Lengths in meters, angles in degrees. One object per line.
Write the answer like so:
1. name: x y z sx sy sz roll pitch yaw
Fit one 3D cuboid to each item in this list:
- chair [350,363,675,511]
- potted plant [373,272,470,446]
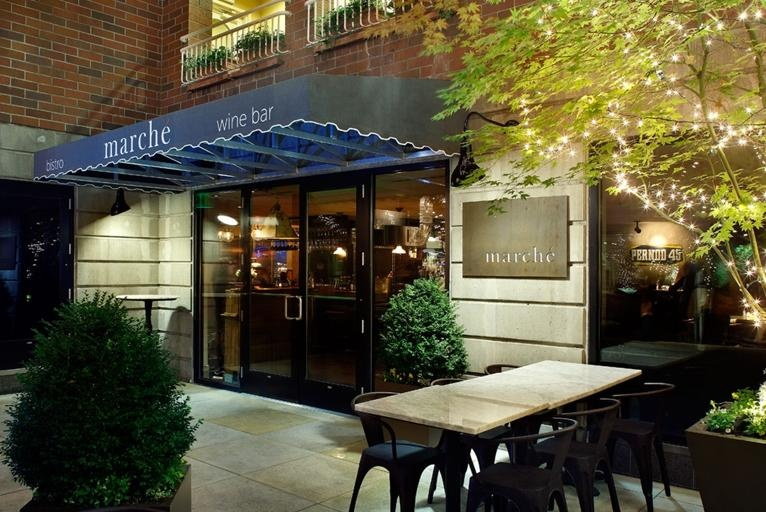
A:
1. chair: 1.077 1.784 5.052 2.416 1.236 1.206 -2 3 -40
2. potted plant: 0.472 1.235 6.969 1.119 1.683 1.007 -1 -6 36
